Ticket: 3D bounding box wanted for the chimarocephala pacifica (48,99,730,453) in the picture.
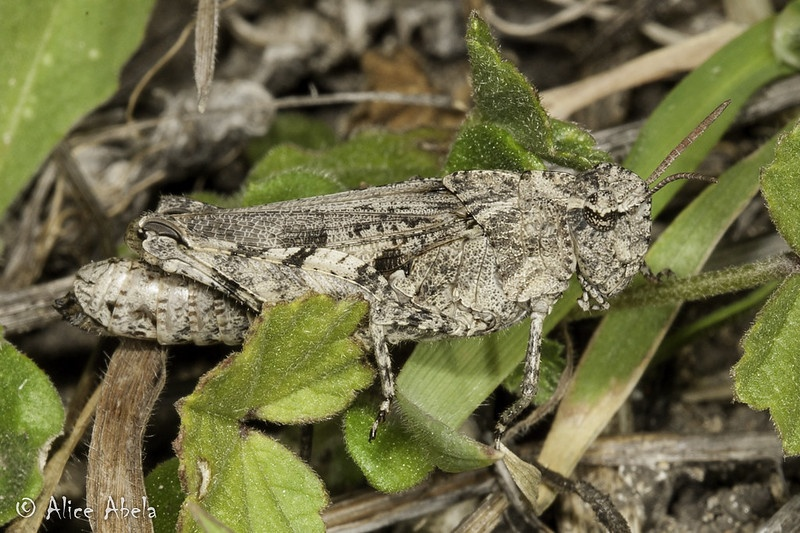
[{"bbox_3d":[-0.081,-0.002,3.944,2.755,1.086,1.192,-1,-64,0],"label":"chimarocephala pacifica"}]
